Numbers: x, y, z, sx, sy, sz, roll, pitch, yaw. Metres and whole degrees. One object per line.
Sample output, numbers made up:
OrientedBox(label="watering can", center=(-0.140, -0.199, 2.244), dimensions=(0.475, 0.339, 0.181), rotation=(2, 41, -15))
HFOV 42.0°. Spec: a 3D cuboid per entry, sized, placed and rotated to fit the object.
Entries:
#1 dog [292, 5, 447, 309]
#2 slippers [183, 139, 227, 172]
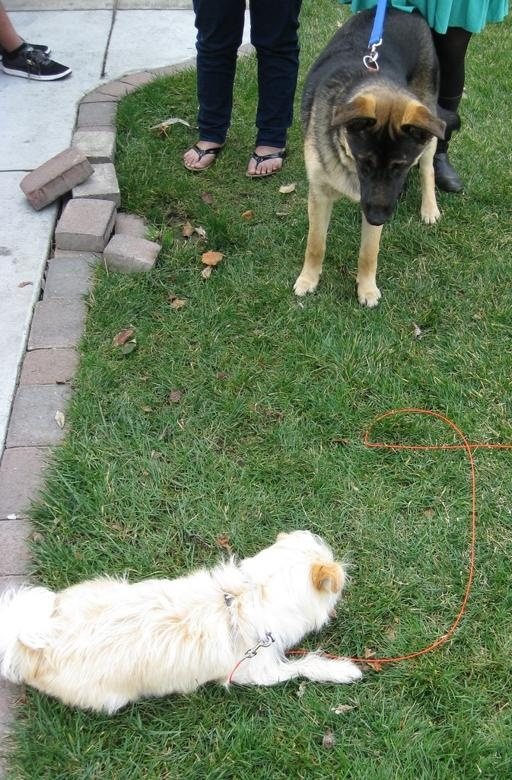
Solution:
OrientedBox(label="dog", center=(0.475, -1.029, 3.114), dimensions=(0.645, 1.179, 1.224), rotation=(7, 36, 7))
OrientedBox(label="slippers", center=(-0.352, -1.521, 4.304), dimensions=(0.137, 0.073, 0.309), rotation=(29, 50, 13))
